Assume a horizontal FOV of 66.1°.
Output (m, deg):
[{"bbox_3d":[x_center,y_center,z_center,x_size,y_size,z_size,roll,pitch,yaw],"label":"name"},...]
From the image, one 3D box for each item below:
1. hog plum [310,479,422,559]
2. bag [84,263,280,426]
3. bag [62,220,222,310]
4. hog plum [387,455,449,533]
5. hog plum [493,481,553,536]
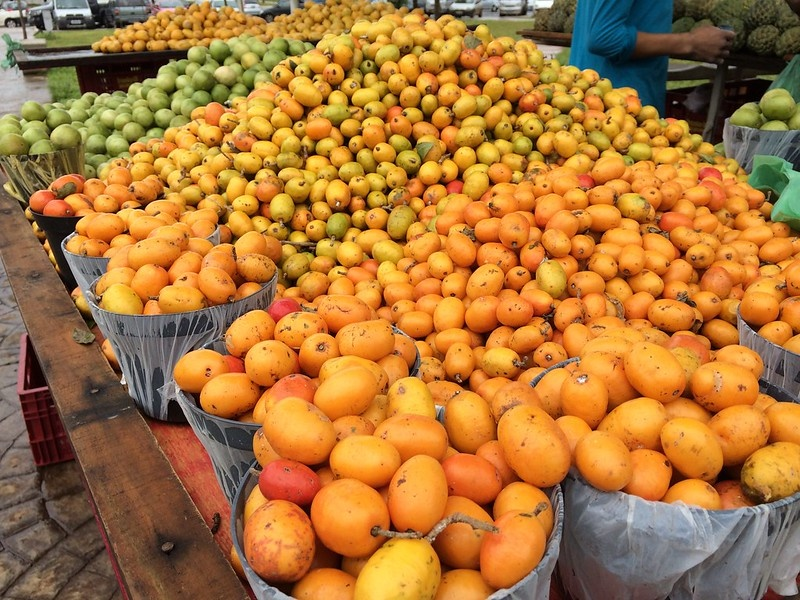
[{"bbox_3d":[-0.111,0.745,2.079,0.272,0.211,0.210,13,-9,37],"label":"hog plum"},{"bbox_3d":[-1.096,0.183,3.172,0.752,0.518,0.731,-8,16,-33],"label":"bag"},{"bbox_3d":[-1.645,-0.207,3.565,0.557,0.367,0.543,-4,25,-11],"label":"bag"},{"bbox_3d":[0.068,0.646,2.098,0.171,0.180,0.230,4,54,6],"label":"hog plum"},{"bbox_3d":[0.420,0.710,2.156,0.164,0.163,0.188,1,51,-4],"label":"hog plum"}]
